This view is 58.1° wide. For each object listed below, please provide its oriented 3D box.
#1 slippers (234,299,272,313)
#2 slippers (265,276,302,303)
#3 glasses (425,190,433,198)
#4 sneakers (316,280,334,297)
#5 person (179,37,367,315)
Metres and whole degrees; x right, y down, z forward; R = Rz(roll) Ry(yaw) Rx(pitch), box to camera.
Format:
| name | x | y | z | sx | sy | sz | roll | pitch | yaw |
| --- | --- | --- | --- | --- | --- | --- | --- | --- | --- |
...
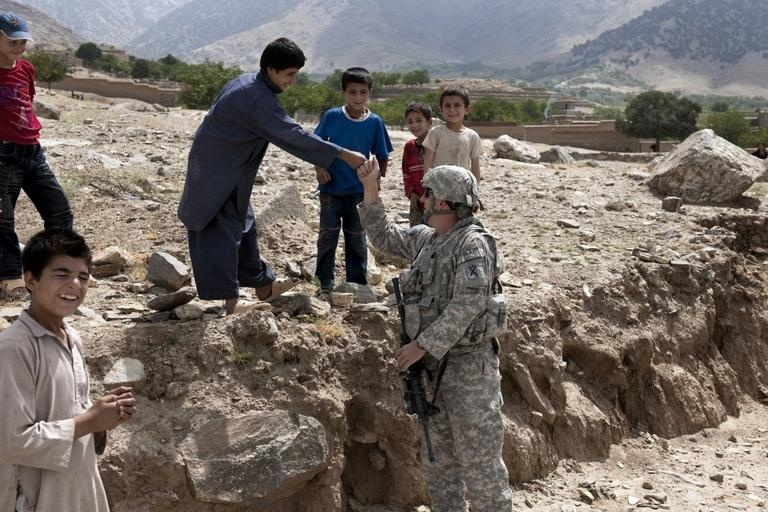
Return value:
| name | x | y | z | sx | sy | sz | roll | pitch | yaw |
| --- | --- | --- | --- | --- | --- | --- | --- | --- | --- |
| slippers | -1.276 | 0.468 | 6.555 | 0.351 | 0.135 | 0.128 | -5 | 5 | 1 |
| slippers | -1.049 | 0.307 | 6.960 | 0.399 | 0.170 | 0.132 | -29 | 19 | -17 |
| glasses | 0.371 | -0.526 | 5.742 | 0.014 | 0.052 | 0.055 | 5 | 3 | -42 |
| sneakers | -0.645 | 0.335 | 7.323 | 0.119 | 0.236 | 0.243 | -4 | -16 | 13 |
| person | -1.256 | -0.716 | 6.260 | 1.215 | 2.494 | 0.589 | 3 | 16 | -14 |
